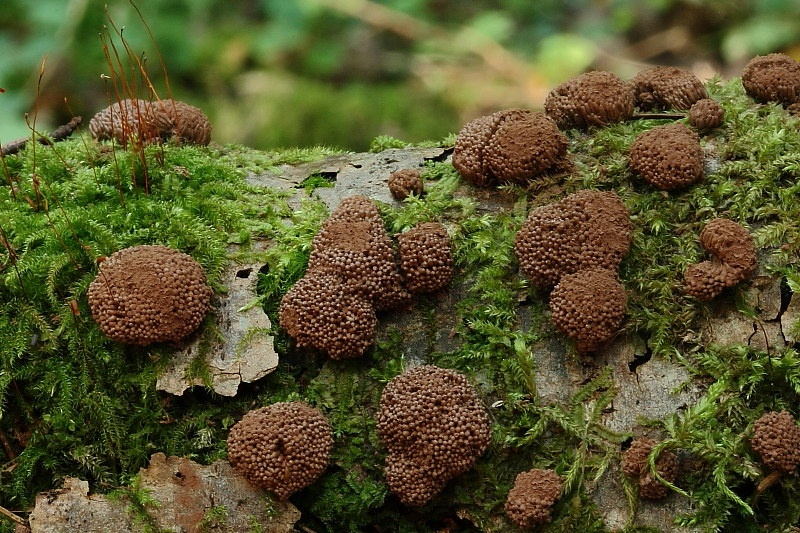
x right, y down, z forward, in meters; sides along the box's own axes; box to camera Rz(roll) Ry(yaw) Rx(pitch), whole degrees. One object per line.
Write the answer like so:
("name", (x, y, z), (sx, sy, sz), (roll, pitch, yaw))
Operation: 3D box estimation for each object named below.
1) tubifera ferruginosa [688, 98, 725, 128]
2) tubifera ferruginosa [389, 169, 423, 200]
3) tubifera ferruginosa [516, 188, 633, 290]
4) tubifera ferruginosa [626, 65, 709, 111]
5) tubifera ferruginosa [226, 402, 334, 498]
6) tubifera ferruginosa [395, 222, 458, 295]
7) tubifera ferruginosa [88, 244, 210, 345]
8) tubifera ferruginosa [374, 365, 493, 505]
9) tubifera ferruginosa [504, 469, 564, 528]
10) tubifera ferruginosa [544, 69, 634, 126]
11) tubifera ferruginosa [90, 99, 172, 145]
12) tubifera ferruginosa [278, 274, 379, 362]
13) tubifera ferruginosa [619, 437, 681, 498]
("tubifera ferruginosa", (1.936, -0.955, 5.544), (0.161, 0.152, 0.202), (1, 42, 3))
("tubifera ferruginosa", (0.034, -0.527, 5.632), (0.166, 0.213, 0.126), (1, 95, 4))
("tubifera ferruginosa", (1.044, -0.165, 5.323), (0.703, 0.233, 0.497), (-11, 69, -2))
("tubifera ferruginosa", (1.760, -1.175, 5.719), (0.384, 0.248, 0.308), (13, 30, 15))
("tubifera ferruginosa", (-0.698, 1.040, 5.151), (0.566, 0.147, 0.529), (-40, 73, -12))
("tubifera ferruginosa", (0.155, -0.046, 5.350), (0.301, 0.190, 0.417), (-9, 83, -3))
("tubifera ferruginosa", (-1.520, 0.205, 5.362), (0.610, 0.319, 0.565), (20, 74, 2))
("tubifera ferruginosa", (0.185, 0.976, 5.129), (0.633, 0.366, 0.768), (15, 84, 9))
("tubifera ferruginosa", (0.772, 1.325, 5.073), (0.261, 0.151, 0.355), (17, 67, 22))
("tubifera ferruginosa", (1.219, -1.087, 5.676), (0.446, 0.277, 0.359), (-11, 46, 11))
("tubifera ferruginosa", (-1.844, -0.978, 6.026), (0.459, 0.349, 0.226), (-4, 102, -13))
("tubifera ferruginosa", (-0.436, 0.297, 5.332), (0.588, 0.231, 0.454), (17, 71, 9))
("tubifera ferruginosa", (1.439, 1.157, 5.047), (0.336, 0.152, 0.290), (42, 76, 16))
